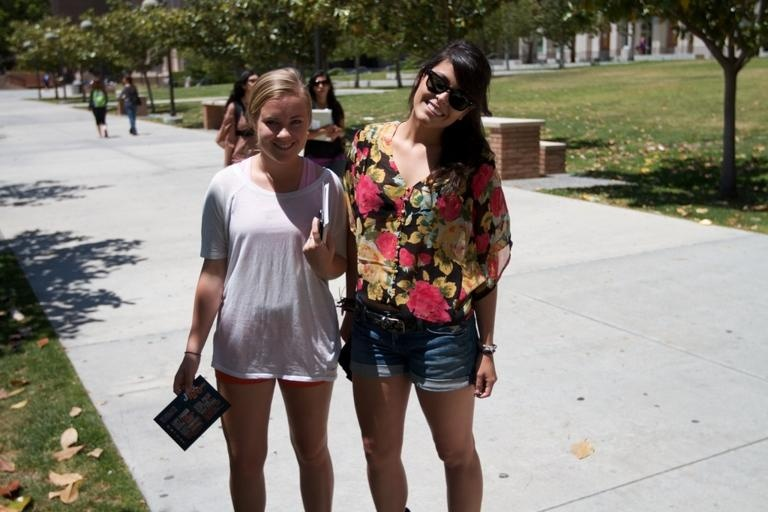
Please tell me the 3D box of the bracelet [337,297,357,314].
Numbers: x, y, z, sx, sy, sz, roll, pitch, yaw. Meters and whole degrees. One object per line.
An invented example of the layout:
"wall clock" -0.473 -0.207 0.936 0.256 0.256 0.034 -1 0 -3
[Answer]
"bracelet" -0.213 0.290 3.871 0.102 0.077 0.083 2 6 2

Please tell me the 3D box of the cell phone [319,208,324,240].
"cell phone" -0.333 -0.170 3.548 0.029 0.145 0.034 4 -6 -42

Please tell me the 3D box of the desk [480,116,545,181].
"desk" 2.673 -2.374 14.492 1.289 1.194 1.299 -6 17 -17

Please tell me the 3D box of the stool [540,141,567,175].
"stool" 3.756 -2.221 14.880 0.657 0.662 0.684 -5 14 -9
